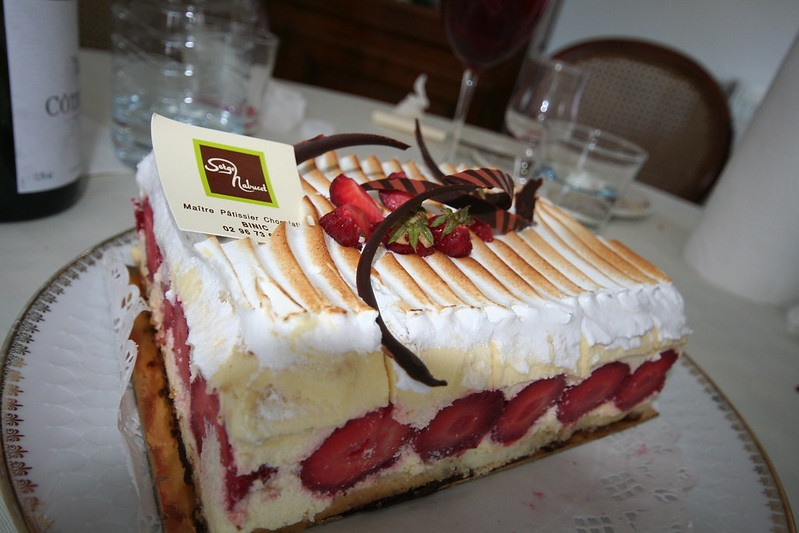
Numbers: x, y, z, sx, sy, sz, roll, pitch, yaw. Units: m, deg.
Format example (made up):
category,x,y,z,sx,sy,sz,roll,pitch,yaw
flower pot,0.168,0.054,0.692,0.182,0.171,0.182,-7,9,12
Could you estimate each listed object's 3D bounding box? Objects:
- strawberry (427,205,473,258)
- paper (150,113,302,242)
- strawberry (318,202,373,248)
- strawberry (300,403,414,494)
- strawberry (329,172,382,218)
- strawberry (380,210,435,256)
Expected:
category,x,y,z,sx,sy,sz,roll,pitch,yaw
strawberry,0.149,-0.094,1.885,0.129,0.146,0.131,-9,21,-30
paper,-0.488,-0.229,1.752,0.518,0.026,0.386,12,54,-33
strawberry,-0.145,-0.111,1.728,0.114,0.047,0.125,14,70,-20
strawberry,-0.116,0.429,1.659,0.285,0.181,0.069,-30,32,-18
strawberry,-0.130,-0.174,1.846,0.140,0.049,0.108,41,29,-14
strawberry,0.036,-0.079,1.767,0.120,0.047,0.129,10,69,3
